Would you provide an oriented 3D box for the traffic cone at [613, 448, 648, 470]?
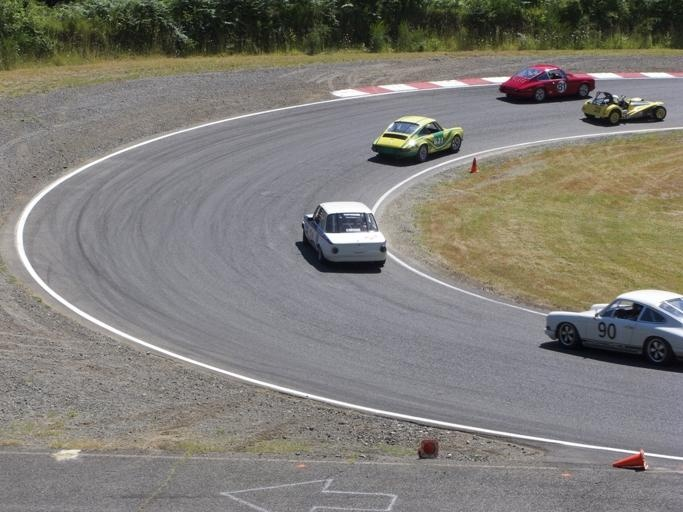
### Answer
[{"bbox_3d":[7.371,5.154,29.885,0.677,0.334,0.516,-16,0,10],"label":"traffic cone"}]

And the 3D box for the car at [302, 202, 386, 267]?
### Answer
[{"bbox_3d":[0.153,-0.971,40.247,2.635,1.387,4.025,-4,20,-11],"label":"car"}]

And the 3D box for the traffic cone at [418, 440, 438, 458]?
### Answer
[{"bbox_3d":[2.251,4.902,30.263,0.506,0.407,0.365,-3,23,4],"label":"traffic cone"}]

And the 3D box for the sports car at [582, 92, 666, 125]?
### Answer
[{"bbox_3d":[12.766,-6.515,52.763,3.461,1.083,1.707,-7,23,-19],"label":"sports car"}]

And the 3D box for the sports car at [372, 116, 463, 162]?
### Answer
[{"bbox_3d":[3.119,-4.899,48.356,2.304,1.167,4.135,17,25,35],"label":"sports car"}]
